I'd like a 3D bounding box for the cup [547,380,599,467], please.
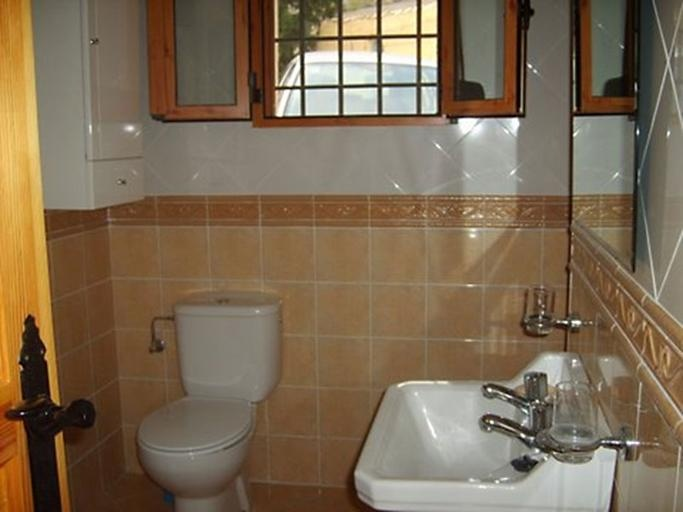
[{"bbox_3d":[0.537,0.383,1.427,0.104,0.130,0.271,2,12,22],"label":"cup"}]
